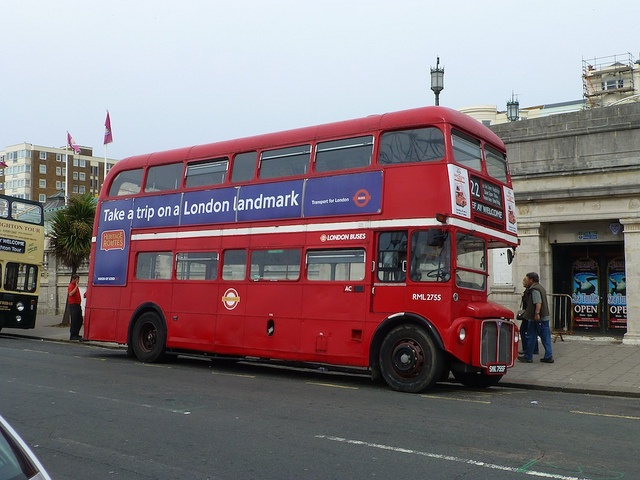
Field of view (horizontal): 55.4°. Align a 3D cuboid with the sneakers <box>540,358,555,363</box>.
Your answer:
[{"bbox_3d":[5.819,3.053,15.605,0.303,0.129,0.269,-1,-3,19],"label":"sneakers"}]

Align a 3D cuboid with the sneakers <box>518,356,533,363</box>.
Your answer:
[{"bbox_3d":[5.355,3.069,15.943,0.122,0.155,0.339,1,4,-41],"label":"sneakers"}]

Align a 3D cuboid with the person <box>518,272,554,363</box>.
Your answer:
[{"bbox_3d":[5.613,1.997,15.947,0.663,2.304,0.903,1,-3,-6],"label":"person"}]
